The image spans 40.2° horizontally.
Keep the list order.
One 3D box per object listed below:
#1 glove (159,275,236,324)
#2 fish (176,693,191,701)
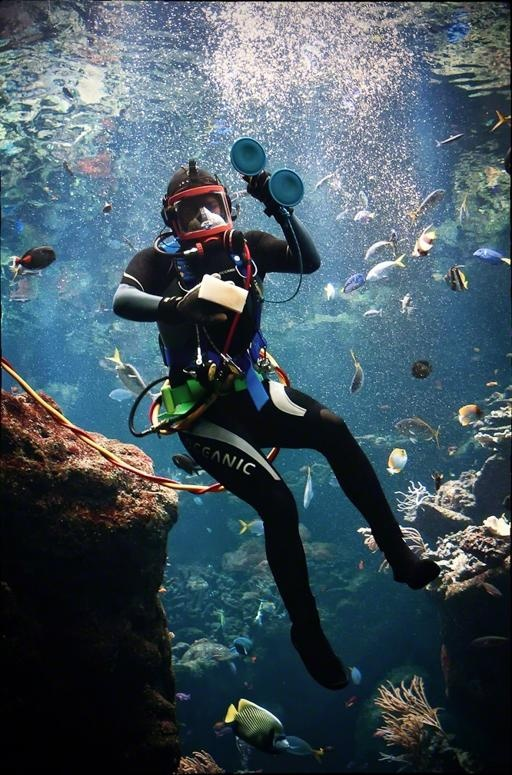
[{"bbox_3d":[-0.680,-0.880,7.221,0.549,0.183,0.391,-6,-15,12],"label":"glove"},{"bbox_3d":[-1.619,6.970,15.742,0.461,0.174,0.141,1,2,3],"label":"fish"}]
